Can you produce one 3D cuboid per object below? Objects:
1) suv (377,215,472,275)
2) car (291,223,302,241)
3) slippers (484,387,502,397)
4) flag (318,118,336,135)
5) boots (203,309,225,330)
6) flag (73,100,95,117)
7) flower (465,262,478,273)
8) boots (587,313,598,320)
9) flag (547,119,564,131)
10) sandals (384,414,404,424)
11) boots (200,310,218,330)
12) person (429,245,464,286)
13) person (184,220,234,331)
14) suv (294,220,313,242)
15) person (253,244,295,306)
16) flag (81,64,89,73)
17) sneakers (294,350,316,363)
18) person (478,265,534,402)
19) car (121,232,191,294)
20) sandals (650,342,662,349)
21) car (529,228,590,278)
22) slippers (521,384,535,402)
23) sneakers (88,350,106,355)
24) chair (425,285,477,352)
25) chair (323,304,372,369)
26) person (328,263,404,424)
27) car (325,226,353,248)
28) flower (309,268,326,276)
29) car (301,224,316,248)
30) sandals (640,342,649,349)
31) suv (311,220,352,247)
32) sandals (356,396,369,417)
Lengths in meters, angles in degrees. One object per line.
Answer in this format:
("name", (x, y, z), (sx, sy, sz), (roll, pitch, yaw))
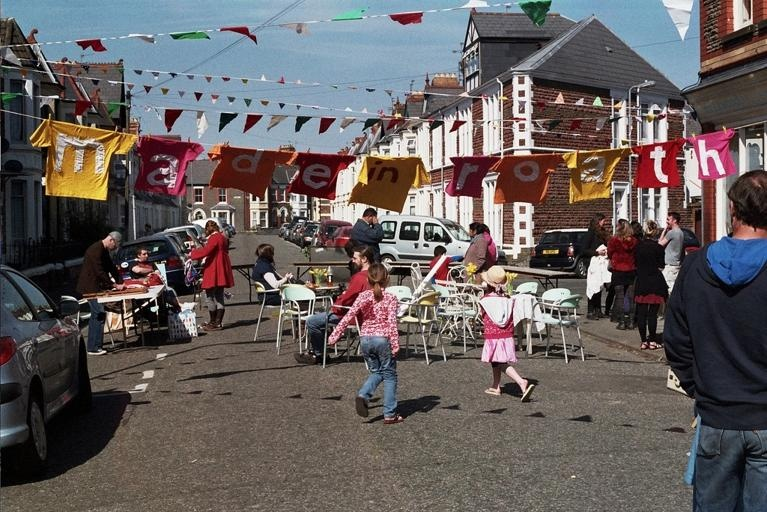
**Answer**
("suv", (1.211, -0.598, 27.896), (2.389, 1.258, 1.493), (-2, 0, 14))
("car", (-5.920, -1.675, 57.481), (0.966, 0.974, 1.960), (0, -2, -11))
("slippers", (1.428, 1.769, 11.221), (0.187, 0.117, 0.089), (4, 4, 28))
("flag", (-1.051, -2.442, 15.918), (0.203, 0.249, 0.535), (-2, 7, -6))
("boots", (-3.295, 1.202, 16.636), (0.354, 0.385, 0.483), (-2, 7, -12))
("flag", (-5.328, -2.665, 15.280), (0.257, 0.289, 1.151), (-3, 8, -18))
("flower", (1.752, 0.215, 16.849), (0.186, 0.150, 0.188), (-3, 3, -19))
("boots", (4.208, 1.185, 17.299), (0.215, 0.100, 0.314), (0, 7, 9))
("flag", (3.412, -2.643, 17.279), (0.201, 0.188, 0.793), (0, 7, 11))
("sandals", (0.130, 1.900, 10.110), (0.193, 0.089, 0.090), (-7, 8, -37))
("boots", (-3.427, 1.238, 16.693), (0.377, 0.360, 0.327), (4, -4, -15))
("person", (1.485, 0.196, 19.832), (0.660, 0.872, 0.260), (16, 39, 25))
("person", (-3.371, 0.324, 16.986), (0.724, 2.082, 1.329), (-2, 7, -11))
("suv", (-5.086, -1.525, 53.482), (0.986, 0.838, 2.119), (0, 8, -8))
("person", (-1.973, 0.454, 15.831), (0.878, 1.443, 0.714), (-5, 7, -18))
("flag", (-16.096, -10.233, 46.498), (0.375, 0.328, 3.483), (-3, 8, -18))
("sneakers", (-1.207, 1.528, 13.082), (0.285, 0.114, 0.150), (8, 4, 9))
("person", (1.594, 0.977, 11.344), (0.639, 1.705, 1.509), (0, 7, 6))
("car", (-5.856, 0.130, 22.569), (1.222, 1.081, 2.420), (-1, 6, 0))
("sandals", (4.388, 1.437, 13.901), (0.259, 0.109, 0.087), (-6, 6, -41))
("car", (5.381, -0.202, 26.293), (1.080, 0.928, 1.906), (3, 6, 45))
("slippers", (1.820, 1.693, 10.880), (0.157, 0.269, 0.458), (0, 7, 8))
("sneakers", (-4.756, 1.603, 14.274), (0.262, 0.110, 0.097), (-4, 0, 2))
("chair", (1.295, 1.010, 15.252), (0.986, 1.394, 0.898), (0, 0, 28))
("chair", (-0.654, 1.379, 13.980), (0.864, 1.325, 0.760), (1, -2, -11))
("person", (-0.170, 1.025, 10.387), (0.736, 1.803, 1.064), (-1, 7, -4))
("car", (-1.633, -0.741, 32.511), (0.932, 0.705, 2.070), (0, 6, -6))
("flower", (-1.253, 0.282, 16.275), (0.179, 0.095, 0.186), (-2, -4, 19))
("car", (-4.020, -1.191, 48.366), (1.238, 1.142, 2.660), (1, -2, -8))
("sandals", (4.214, 1.429, 13.864), (0.087, 0.101, 0.259), (-2, -4, 5))
("suv", (-2.476, -1.033, 38.020), (1.017, 0.836, 2.245), (0, 5, -6))
("sandals", (-0.255, 1.742, 10.013), (0.124, 0.247, 0.111), (-5, -4, 30))
